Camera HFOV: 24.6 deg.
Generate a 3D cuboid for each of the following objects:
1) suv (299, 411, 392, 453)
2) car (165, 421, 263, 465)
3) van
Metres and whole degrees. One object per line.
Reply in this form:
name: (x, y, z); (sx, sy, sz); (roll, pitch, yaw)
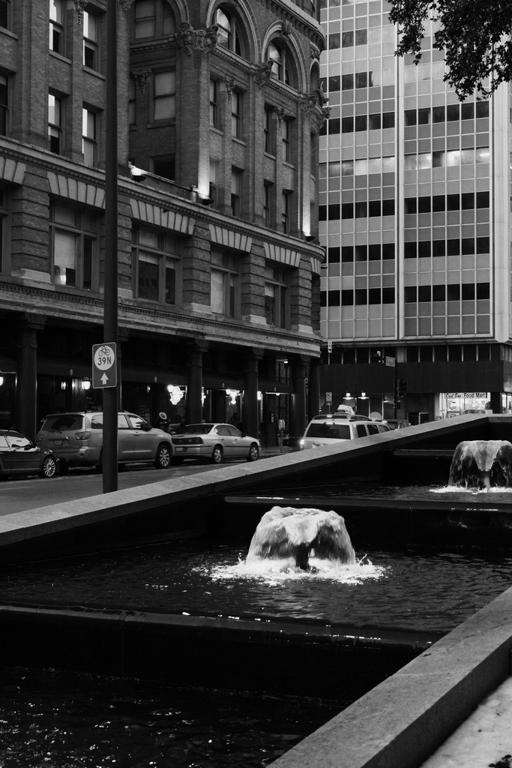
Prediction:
suv: (1.831, 0.933, 24.716); (0.832, 1.019, 1.758); (0, 3, 34)
car: (-1.214, 1.717, 34.152); (1.085, 1.139, 2.650); (-2, -2, 31)
van: (-3.635, 1.406, 29.440); (1.453, 1.691, 3.411); (-2, -2, 33)
